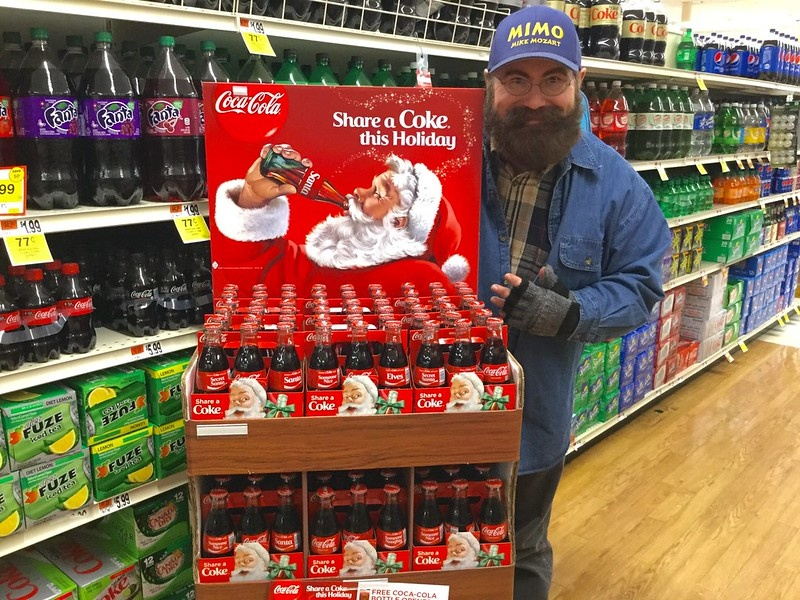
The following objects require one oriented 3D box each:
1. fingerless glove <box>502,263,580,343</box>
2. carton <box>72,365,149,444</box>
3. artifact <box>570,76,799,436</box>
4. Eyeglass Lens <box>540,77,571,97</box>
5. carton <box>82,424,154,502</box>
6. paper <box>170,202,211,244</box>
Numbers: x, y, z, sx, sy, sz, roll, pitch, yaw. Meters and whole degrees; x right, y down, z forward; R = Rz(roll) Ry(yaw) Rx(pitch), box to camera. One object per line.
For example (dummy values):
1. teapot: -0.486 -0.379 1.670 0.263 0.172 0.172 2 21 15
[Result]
1. fingerless glove: 0.483 0.016 2.003 0.236 0.233 0.101 -23 16 -7
2. carton: -1.110 0.396 2.293 0.162 0.270 0.269 13 19 40
3. artifact: 2.067 -0.278 4.329 2.753 2.456 0.855 -15 17 -42
4. Eyeglass Lens: 0.537 -0.738 2.099 0.110 0.064 0.023 -6 14 -11
5. carton: -1.097 0.618 2.323 0.100 0.265 0.315 3 9 45
6. paper: -0.801 -0.297 2.298 0.165 0.161 0.038 -21 -1 -40
